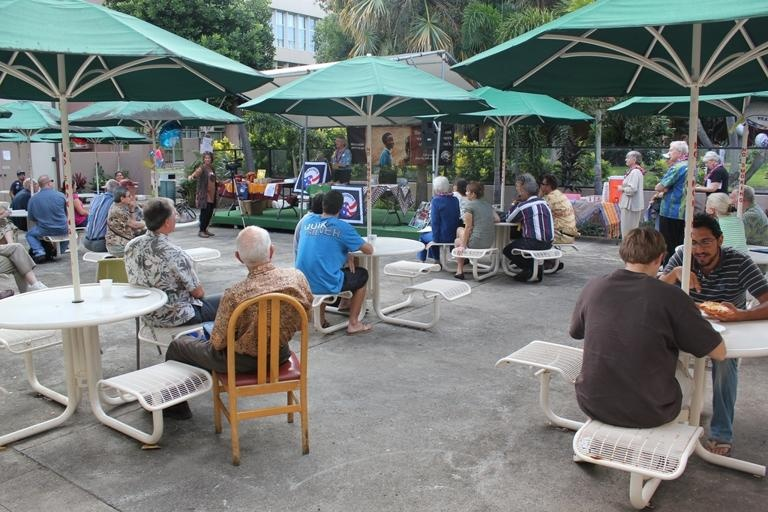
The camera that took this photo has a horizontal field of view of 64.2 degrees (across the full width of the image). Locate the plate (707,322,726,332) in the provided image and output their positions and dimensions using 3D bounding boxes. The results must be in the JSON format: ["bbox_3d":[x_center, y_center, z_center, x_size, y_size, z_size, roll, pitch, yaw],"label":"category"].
[{"bbox_3d":[2.545,0.553,4.686,0.126,0.018,0.128,2,12,28],"label":"plate"}]

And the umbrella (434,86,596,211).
[{"bbox_3d":[2.405,-1.913,12.156,2.590,1.807,2.852,3,4,35],"label":"umbrella"}]

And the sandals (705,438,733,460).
[{"bbox_3d":[2.651,1.542,4.862,0.194,0.076,0.104,3,25,44],"label":"sandals"}]

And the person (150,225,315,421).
[{"bbox_3d":[-1.112,0.478,4.951,1.003,1.608,1.310,-12,27,-34],"label":"person"}]

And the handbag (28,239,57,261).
[{"bbox_3d":[-6.157,-0.096,11.042,0.210,0.443,0.635,-19,-10,-40],"label":"handbag"}]

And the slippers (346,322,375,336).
[{"bbox_3d":[-0.285,0.875,7.353,0.128,0.187,0.282,5,8,41],"label":"slippers"}]

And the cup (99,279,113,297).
[{"bbox_3d":[-2.491,0.290,5.416,0.150,0.148,0.148,-1,-2,0],"label":"cup"}]

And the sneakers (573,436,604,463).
[{"bbox_3d":[1.409,1.391,4.257,0.202,0.054,0.167,6,50,11],"label":"sneakers"}]

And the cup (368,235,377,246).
[{"bbox_3d":[-0.186,-0.211,7.933,0.133,0.145,0.117,2,3,30],"label":"cup"}]
